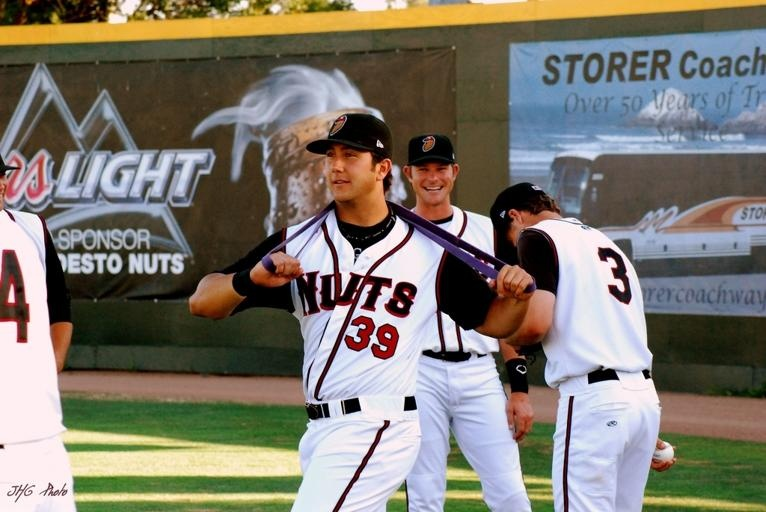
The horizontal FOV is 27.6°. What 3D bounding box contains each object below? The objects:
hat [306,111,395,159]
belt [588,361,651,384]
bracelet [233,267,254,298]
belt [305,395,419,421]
[{"bbox_3d":[-0.347,-1.255,16.179,0.711,0.302,0.504,8,-5,-14],"label":"hat"},{"bbox_3d":[2.493,1.257,16.508,0.680,0.165,0.104,-2,15,-8],"label":"belt"},{"bbox_3d":[-1.448,0.276,15.988,0.210,0.263,0.097,41,2,-17],"label":"bracelet"},{"bbox_3d":[-0.235,1.567,16.034,1.128,0.284,0.185,0,15,-1],"label":"belt"}]
